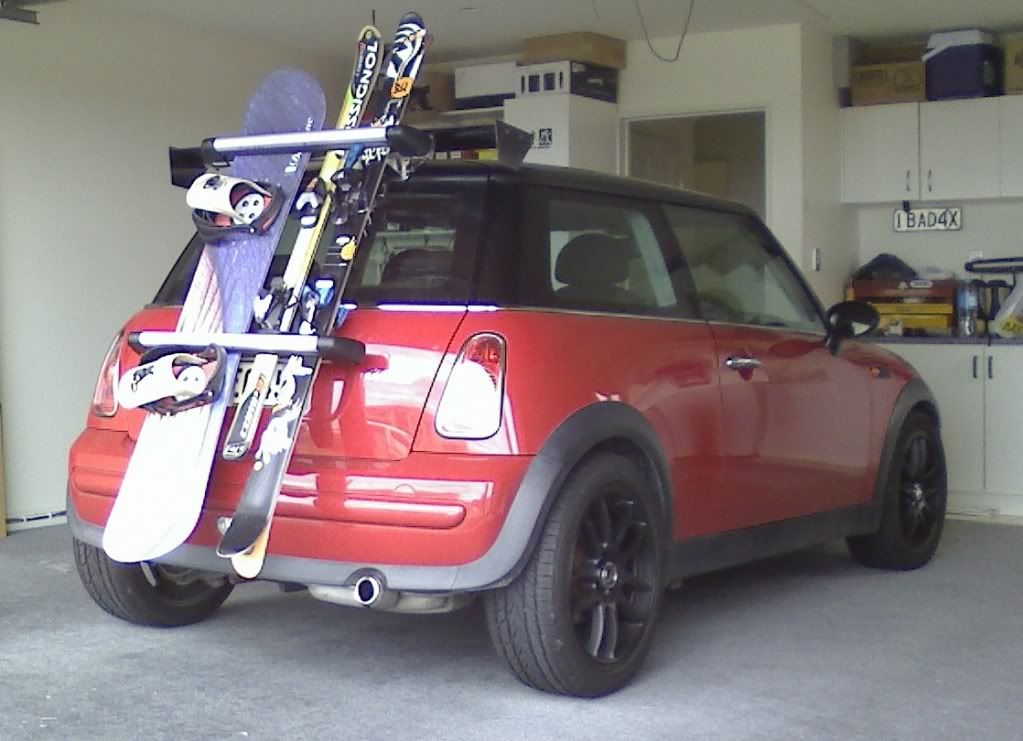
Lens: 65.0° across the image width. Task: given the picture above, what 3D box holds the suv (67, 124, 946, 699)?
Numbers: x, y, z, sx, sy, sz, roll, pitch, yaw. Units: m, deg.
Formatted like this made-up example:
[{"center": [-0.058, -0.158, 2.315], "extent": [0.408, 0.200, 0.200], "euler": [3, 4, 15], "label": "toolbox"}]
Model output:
[{"center": [0.378, 0.144, 3.039], "extent": [1.753, 1.329, 2.942], "euler": [1, 4, 40], "label": "suv"}]

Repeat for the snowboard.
[{"center": [-0.805, -0.115, 2.431], "extent": [0.422, 1.993, 0.203], "euler": [-3, -22, 33], "label": "snowboard"}]
